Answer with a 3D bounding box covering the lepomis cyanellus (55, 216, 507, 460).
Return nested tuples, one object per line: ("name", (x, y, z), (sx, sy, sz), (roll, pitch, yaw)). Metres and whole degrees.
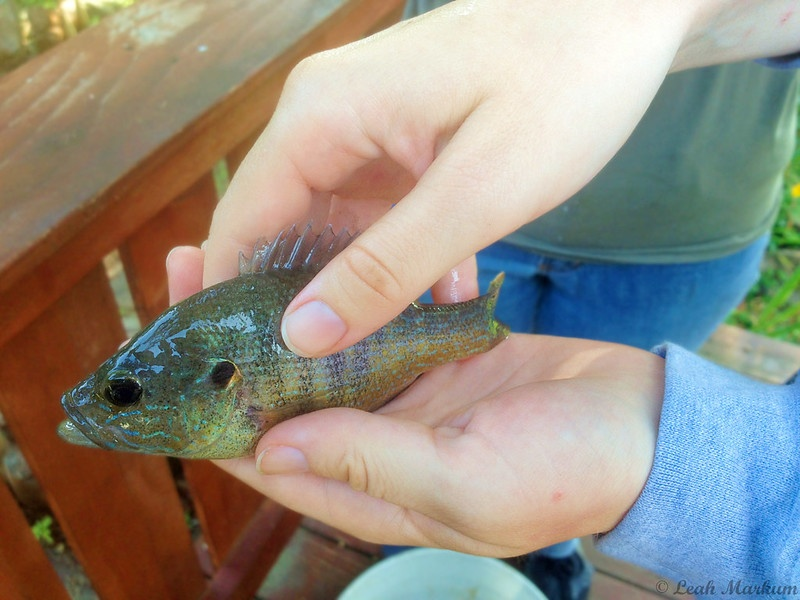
("lepomis cyanellus", (-0.372, 0.114, 2.173), (1.291, 0.502, 0.384), (-12, 41, -18))
